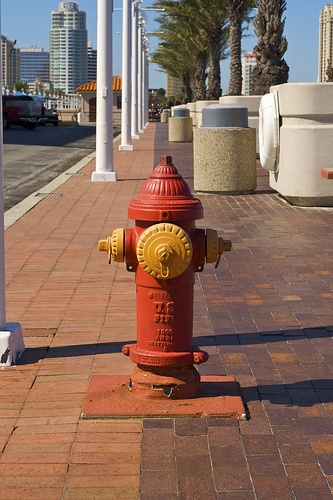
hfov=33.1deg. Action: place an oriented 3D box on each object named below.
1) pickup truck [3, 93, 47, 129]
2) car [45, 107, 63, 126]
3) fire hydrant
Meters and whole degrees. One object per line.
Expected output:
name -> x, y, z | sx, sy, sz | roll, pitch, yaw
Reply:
pickup truck -> -9.937, -9.385, 38.430 | 1.891, 2.355, 4.241 | 2, 14, 10
car -> -8.807, -10.263, 43.084 | 0.765, 1.258, 2.693 | -1, 3, -8
fire hydrant -> -0.027, 0.172, 2.792 | 0.810, 1.237, 0.601 | -1, 15, -1
